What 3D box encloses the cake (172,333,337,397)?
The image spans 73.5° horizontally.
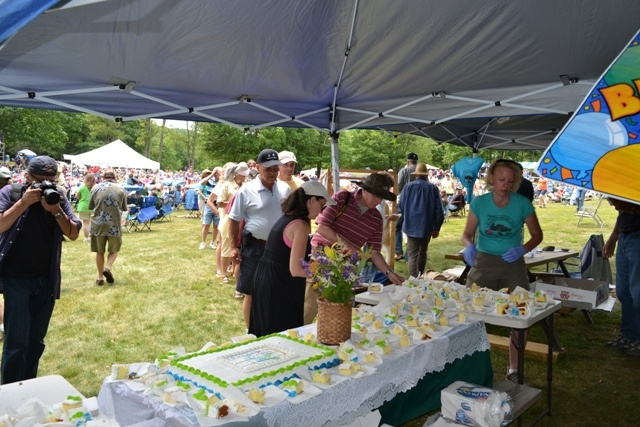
[{"bbox_3d":[-0.447,0.975,2.819,0.514,0.082,0.386,-4,6,-39],"label":"cake"}]

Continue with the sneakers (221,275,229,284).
[{"bbox_3d":[-1.745,1.224,7.972,0.117,0.117,0.306,0,-7,-27],"label":"sneakers"}]

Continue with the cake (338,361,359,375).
[{"bbox_3d":[0.183,0.999,2.810,0.091,0.054,0.090,-2,-11,23],"label":"cake"}]

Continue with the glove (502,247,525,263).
[{"bbox_3d":[1.977,0.421,4.384,0.223,0.182,0.151,3,9,11],"label":"glove"}]

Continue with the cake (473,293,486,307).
[{"bbox_3d":[1.434,0.782,3.857,0.107,0.106,0.098,0,-7,11],"label":"cake"}]

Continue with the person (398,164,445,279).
[{"bbox_3d":[1.794,0.243,7.695,0.738,1.708,0.421,4,10,13],"label":"person"}]

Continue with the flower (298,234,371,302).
[{"bbox_3d":[0.099,0.469,3.220,0.477,0.489,0.446,3,-9,-35],"label":"flower"}]

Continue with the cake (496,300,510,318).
[{"bbox_3d":[1.597,0.819,3.731,0.159,0.105,0.087,-6,5,-38],"label":"cake"}]

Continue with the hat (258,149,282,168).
[{"bbox_3d":[-0.582,-0.635,4.943,0.238,0.204,0.301,0,9,-8],"label":"hat"}]

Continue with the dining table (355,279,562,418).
[{"bbox_3d":[1.044,0.980,3.630,1.245,0.683,1.248,4,10,38],"label":"dining table"}]

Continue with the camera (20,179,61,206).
[{"bbox_3d":[-2.468,-0.196,3.886,0.177,0.223,0.304,-42,-4,-43],"label":"camera"}]

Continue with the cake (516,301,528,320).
[{"bbox_3d":[1.750,0.835,3.712,0.113,0.036,0.116,-27,32,-4],"label":"cake"}]

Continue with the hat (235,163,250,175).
[{"bbox_3d":[-1.320,-0.730,7.425,0.195,0.197,0.240,1,-27,-24],"label":"hat"}]

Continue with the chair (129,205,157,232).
[{"bbox_3d":[-5.551,0.143,13.573,0.870,0.814,0.874,2,4,43],"label":"chair"}]

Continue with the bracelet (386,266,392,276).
[{"bbox_3d":[0.680,0.577,4.291,0.051,0.068,0.076,4,11,19],"label":"bracelet"}]

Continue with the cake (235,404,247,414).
[{"bbox_3d":[-0.445,1.097,2.415,0.059,0.039,0.045,1,9,-2],"label":"cake"}]

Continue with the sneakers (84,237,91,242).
[{"bbox_3d":[-5.919,0.663,10.978,0.100,0.114,0.282,0,-4,-21],"label":"sneakers"}]

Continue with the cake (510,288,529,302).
[{"bbox_3d":[1.813,0.740,3.904,0.104,0.046,0.138,-6,2,42],"label":"cake"}]

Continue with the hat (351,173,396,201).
[{"bbox_3d":[0.557,-0.285,4.385,0.296,0.126,0.334,15,9,-43],"label":"hat"}]

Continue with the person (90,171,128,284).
[{"bbox_3d":[-3.725,0.248,7.596,0.536,2.026,0.646,-2,10,-20],"label":"person"}]

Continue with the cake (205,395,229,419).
[{"bbox_3d":[-0.574,1.080,2.396,0.129,0.083,0.102,6,10,26],"label":"cake"}]

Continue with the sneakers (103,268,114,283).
[{"bbox_3d":[-3.731,1.110,7.686,0.151,0.301,0.140,-5,43,-11],"label":"sneakers"}]

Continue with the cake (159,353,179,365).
[{"bbox_3d":[-0.993,0.967,2.852,0.141,0.034,0.136,1,3,6],"label":"cake"}]

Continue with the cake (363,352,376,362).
[{"bbox_3d":[0.340,0.980,2.920,0.101,0.082,0.056,1,4,8],"label":"cake"}]

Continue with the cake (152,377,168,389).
[{"bbox_3d":[-0.950,1.008,2.579,0.080,0.034,0.076,-2,9,-24],"label":"cake"}]

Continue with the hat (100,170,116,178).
[{"bbox_3d":[-3.729,-0.689,7.612,0.197,0.182,0.149,-1,0,4],"label":"hat"}]

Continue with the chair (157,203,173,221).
[{"bbox_3d":[-5.490,-0.073,15.284,0.444,0.734,1.392,-2,9,-21],"label":"chair"}]

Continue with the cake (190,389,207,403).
[{"bbox_3d":[-0.680,1.041,2.456,0.082,0.026,0.099,-1,8,-15],"label":"cake"}]

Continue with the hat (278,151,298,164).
[{"bbox_3d":[-0.477,-0.811,6.230,0.215,0.107,0.302,2,5,-18],"label":"hat"}]

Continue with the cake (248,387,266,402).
[{"bbox_3d":[-0.353,1.040,2.482,0.118,0.080,0.063,3,-9,-10],"label":"cake"}]

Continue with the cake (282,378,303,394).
[{"bbox_3d":[-0.155,1.046,2.580,0.126,0.071,0.095,1,9,-4],"label":"cake"}]

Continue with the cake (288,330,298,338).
[{"bbox_3d":[-0.197,0.888,3.215,0.058,0.055,0.059,-6,11,-21],"label":"cake"}]

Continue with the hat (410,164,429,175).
[{"bbox_3d":[1.880,-0.820,7.925,0.243,0.120,0.239,5,-12,3],"label":"hat"}]

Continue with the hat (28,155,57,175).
[{"bbox_3d":[-2.597,-0.424,4.055,0.240,0.140,0.182,25,24,22],"label":"hat"}]

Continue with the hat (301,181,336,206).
[{"bbox_3d":[-0.010,-0.179,3.796,0.256,0.116,0.156,11,7,-22],"label":"hat"}]

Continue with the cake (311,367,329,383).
[{"bbox_3d":[0.007,1.026,2.735,0.083,0.072,0.083,-6,-8,33],"label":"cake"}]

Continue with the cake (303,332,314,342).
[{"bbox_3d":[-0.078,0.901,3.150,0.062,0.057,0.061,-4,-9,35],"label":"cake"}]

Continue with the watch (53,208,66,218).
[{"bbox_3d":[-2.375,-0.003,3.937,0.097,0.058,0.087,-1,2,-37],"label":"watch"}]

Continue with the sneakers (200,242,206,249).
[{"bbox_3d":[-2.907,0.804,10.732,0.135,0.115,0.279,4,-2,-13],"label":"sneakers"}]

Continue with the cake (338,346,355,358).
[{"bbox_3d":[0.184,0.934,2.924,0.077,0.044,0.075,-3,7,-36],"label":"cake"}]
